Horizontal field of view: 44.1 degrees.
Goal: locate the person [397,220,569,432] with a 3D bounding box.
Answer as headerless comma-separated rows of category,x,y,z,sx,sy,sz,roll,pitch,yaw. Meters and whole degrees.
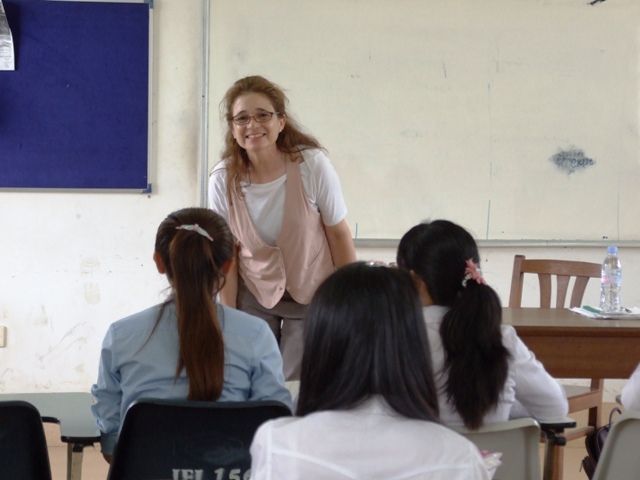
person,0.612,0.549,3.180,0.616,1.147,0.736,-3,2,3

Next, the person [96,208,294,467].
person,-0.476,0.306,3.175,0.758,1.181,0.789,2,6,-5

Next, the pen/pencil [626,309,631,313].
pen/pencil,1.439,0.335,3.684,0.022,0.026,0.020,1,10,37

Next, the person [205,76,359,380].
person,-0.193,0.221,3.896,0.708,2.094,0.447,-3,25,-2

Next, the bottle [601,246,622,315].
bottle,1.414,0.176,3.836,0.090,0.297,0.483,1,2,20
